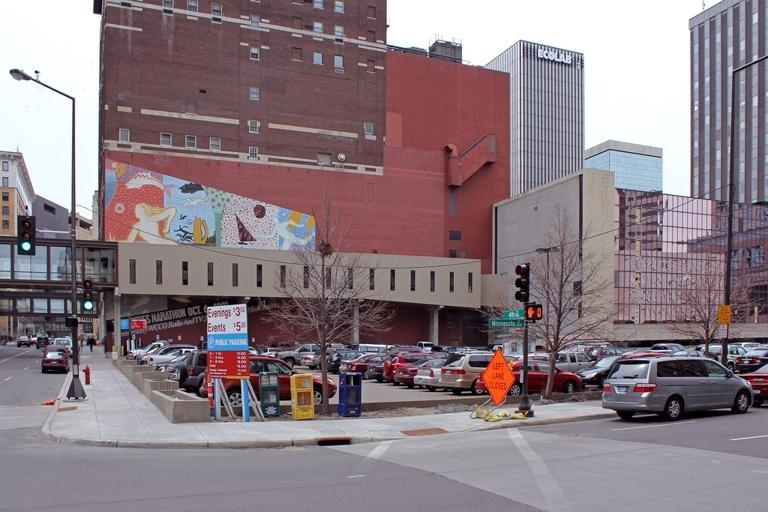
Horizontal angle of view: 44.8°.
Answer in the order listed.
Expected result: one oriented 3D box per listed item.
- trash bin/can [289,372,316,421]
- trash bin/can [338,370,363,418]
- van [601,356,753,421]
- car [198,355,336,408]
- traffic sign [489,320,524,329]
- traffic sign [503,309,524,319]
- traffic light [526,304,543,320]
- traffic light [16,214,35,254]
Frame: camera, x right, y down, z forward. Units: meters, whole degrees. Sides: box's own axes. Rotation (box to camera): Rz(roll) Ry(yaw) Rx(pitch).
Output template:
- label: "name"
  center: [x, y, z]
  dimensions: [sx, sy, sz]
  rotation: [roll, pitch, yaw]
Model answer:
- label: "trash bin/can"
  center: [-4.418, 7.614, 50.607]
  dimensions: [1.323, 2.529, 1.106]
  rotation: [4, -9, -26]
- label: "trash bin/can"
  center: [-1.908, 7.652, 51.539]
  dimensions: [1.333, 2.300, 1.173]
  rotation: [5, -8, -35]
- label: "van"
  center: [15.799, 7.084, 50.284]
  dimensions: [7.333, 3.393, 1.365]
  rotation: [2, -8, -7]
- label: "car"
  center: [-6.978, 7.438, 54.268]
  dimensions: [8.237, 3.099, 3.254]
  rotation: [3, -8, -26]
- label: "traffic sign"
  center: [6.822, 3.758, 52.234]
  dimensions: [1.553, 0.368, 1.474]
  rotation: [0, -2, 4]
- label: "traffic sign"
  center: [7.158, 3.228, 51.696]
  dimensions: [0.637, 0.410, 0.665]
  rotation: [3, -6, -16]
- label: "traffic light"
  center: [8.173, 3.038, 51.162]
  dimensions: [0.844, 0.824, 0.460]
  rotation: [-1, 0, -4]
- label: "traffic light"
  center: [-19.776, -1.271, 51.596]
  dimensions: [0.853, 2.080, 0.749]
  rotation: [2, -8, -11]
